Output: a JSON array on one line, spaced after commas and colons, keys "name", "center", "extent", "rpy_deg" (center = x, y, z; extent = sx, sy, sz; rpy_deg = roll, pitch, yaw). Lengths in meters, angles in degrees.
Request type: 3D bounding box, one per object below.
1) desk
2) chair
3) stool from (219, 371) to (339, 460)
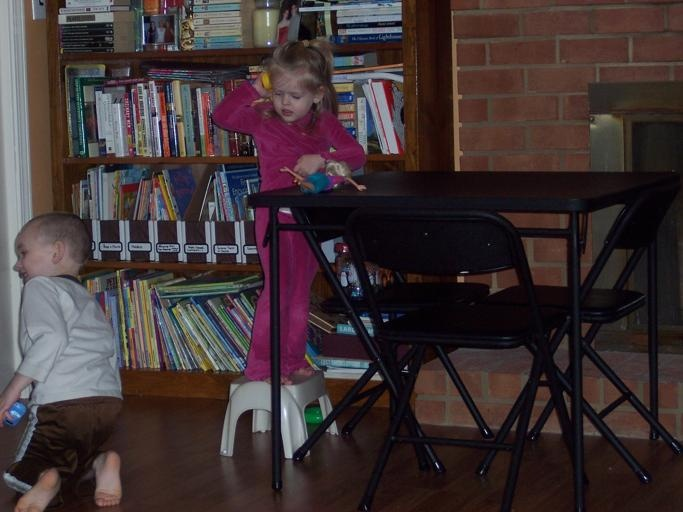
[{"name": "desk", "center": [0.455, -0.102, 2.106], "extent": [1.170, 0.988, 1.059], "rpy_deg": [4, 13, 27]}, {"name": "chair", "center": [0.424, 0.289, 1.948], "extent": [1.003, 0.781, 1.047], "rpy_deg": [1, 7, 21]}, {"name": "stool", "center": [-0.238, 0.576, 2.405], "extent": [0.327, 0.217, 0.328], "rpy_deg": [5, -5, -1]}]
